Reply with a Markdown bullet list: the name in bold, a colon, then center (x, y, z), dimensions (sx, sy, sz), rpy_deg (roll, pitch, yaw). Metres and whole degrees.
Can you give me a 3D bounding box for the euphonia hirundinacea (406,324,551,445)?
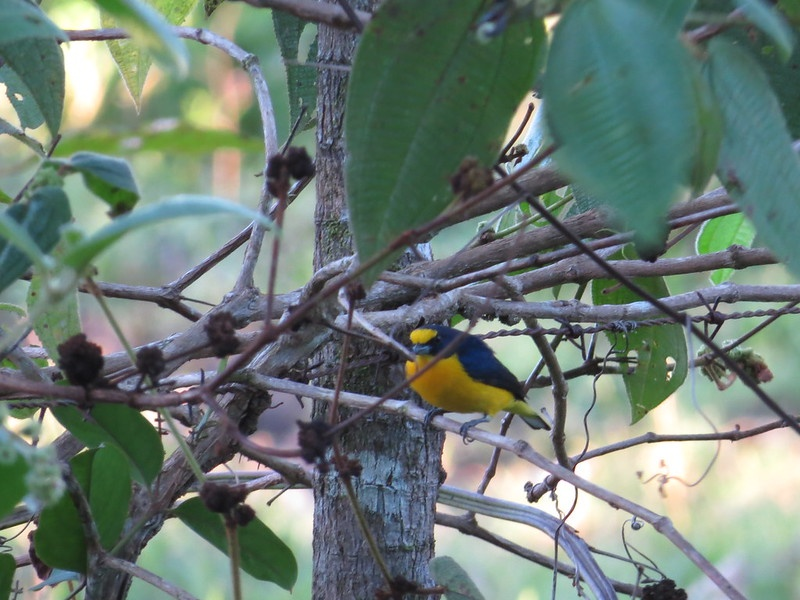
- **euphonia hirundinacea**: center (0.324, 0.336, 4.051), dimensions (0.772, 0.363, 0.438), rpy_deg (7, -97, -35)
